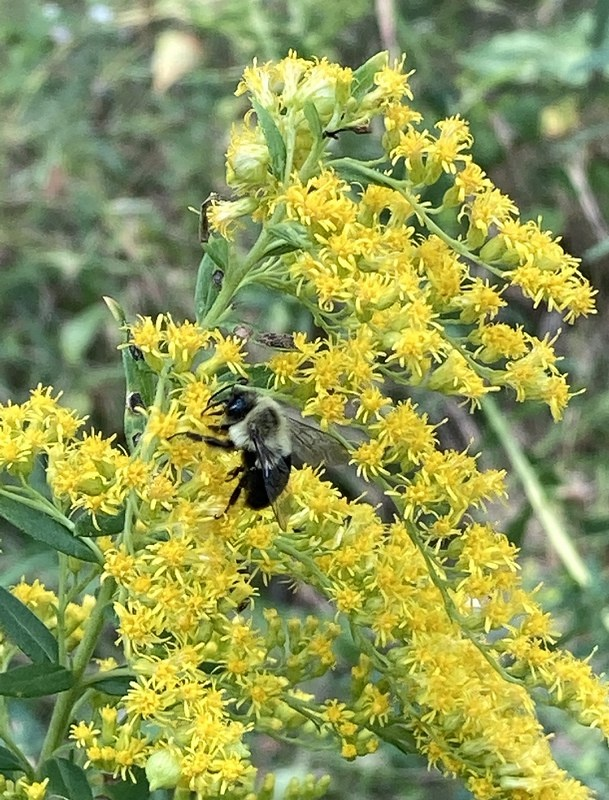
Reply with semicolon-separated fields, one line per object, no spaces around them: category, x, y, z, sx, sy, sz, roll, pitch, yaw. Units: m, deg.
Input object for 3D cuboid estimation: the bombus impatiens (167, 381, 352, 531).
bombus impatiens;-0.075;0.059;1.331;0.206;0.157;0.065;37;119;22
